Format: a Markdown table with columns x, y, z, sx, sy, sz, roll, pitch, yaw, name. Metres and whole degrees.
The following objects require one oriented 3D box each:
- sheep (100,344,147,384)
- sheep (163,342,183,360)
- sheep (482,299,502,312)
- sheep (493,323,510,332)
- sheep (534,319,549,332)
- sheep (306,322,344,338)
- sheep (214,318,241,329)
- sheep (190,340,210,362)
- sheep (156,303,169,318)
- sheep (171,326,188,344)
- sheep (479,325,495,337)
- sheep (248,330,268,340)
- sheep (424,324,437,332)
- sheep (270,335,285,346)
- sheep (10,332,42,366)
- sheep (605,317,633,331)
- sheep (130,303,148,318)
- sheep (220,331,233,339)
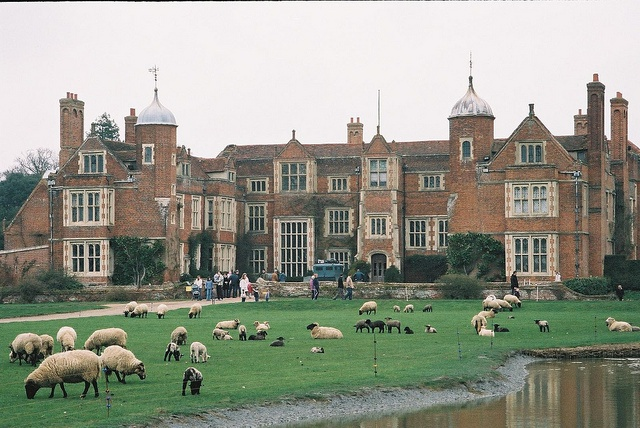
| x | y | z | sx | sy | sz | roll | pitch | yaw | name |
| --- | --- | --- | --- | --- | --- | --- | --- | --- | --- |
| -8.152 | 6.114 | 57.214 | 2.286 | 1.483 | 1.043 | 6 | 9 | 20 | sheep |
| -6.408 | 5.876 | 60.325 | 0.650 | 0.810 | 0.798 | -1 | -7 | -7 | sheep |
| 9.187 | 4.820 | 75.536 | 1.152 | 0.701 | 0.499 | -2 | 7 | -4 | sheep |
| 8.813 | 5.499 | 68.650 | 0.865 | 0.325 | 0.304 | 9 | 2 | 24 | sheep |
| 11.036 | 5.468 | 69.515 | 0.665 | 0.603 | 1.572 | -3 | -7 | 9 | sheep |
| 0.257 | 5.403 | 65.710 | 1.325 | 0.537 | 0.642 | 3 | 0 | 11 | sheep |
| -4.500 | 5.273 | 67.966 | 1.419 | 0.520 | 0.435 | -3 | 6 | -6 | sheep |
| -5.214 | 5.906 | 60.190 | 0.808 | 0.884 | 1.231 | -1 | -7 | -5 | sheep |
| -8.211 | 4.945 | 72.323 | 0.362 | 0.739 | 0.737 | -1 | -7 | -5 | sheep |
| -6.359 | 5.393 | 62.846 | 0.685 | 0.823 | 1.897 | -1 | -7 | -6 | sheep |
| 7.984 | 5.574 | 67.196 | 0.394 | 0.400 | 0.794 | 1 | 7 | -21 | sheep |
| -2.876 | 5.617 | 65.598 | 1.026 | 0.458 | 0.300 | -12 | 6 | 7 | sheep |
| 5.400 | 5.555 | 67.913 | 0.529 | 0.355 | 0.277 | 26 | -18 | -30 | sheep |
| -1.977 | 5.768 | 64.024 | 0.648 | 0.454 | 1.012 | -1 | -7 | -1 | sheep |
| -12.447 | 5.678 | 59.099 | 2.064 | 1.286 | 0.968 | -6 | -7 | 44 | sheep |
| 14.834 | 5.434 | 69.646 | 0.950 | 0.709 | 1.265 | 1 | -7 | -16 | sheep |
| -9.398 | 4.943 | 72.623 | 0.736 | 0.660 | 0.821 | 3 | -8 | -30 | sheep |
| -4.332 | 5.574 | 65.299 | 0.447 | 0.427 | 0.559 | -2 | -7 | 3 | sheep |
